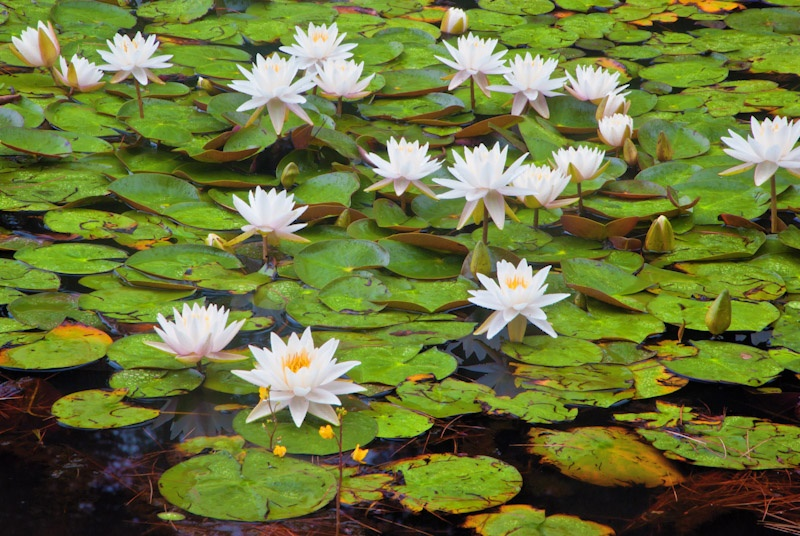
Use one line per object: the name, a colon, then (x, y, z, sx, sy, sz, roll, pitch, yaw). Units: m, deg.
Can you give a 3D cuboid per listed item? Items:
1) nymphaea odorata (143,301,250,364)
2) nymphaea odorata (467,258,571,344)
nymphaea odorata: (-0.830, 0.294, 3.133, 0.390, 0.274, 0.229, 12, 36, 13)
nymphaea odorata: (0.486, 0.090, 3.267, 0.472, 0.105, 0.300, 7, 28, 10)
